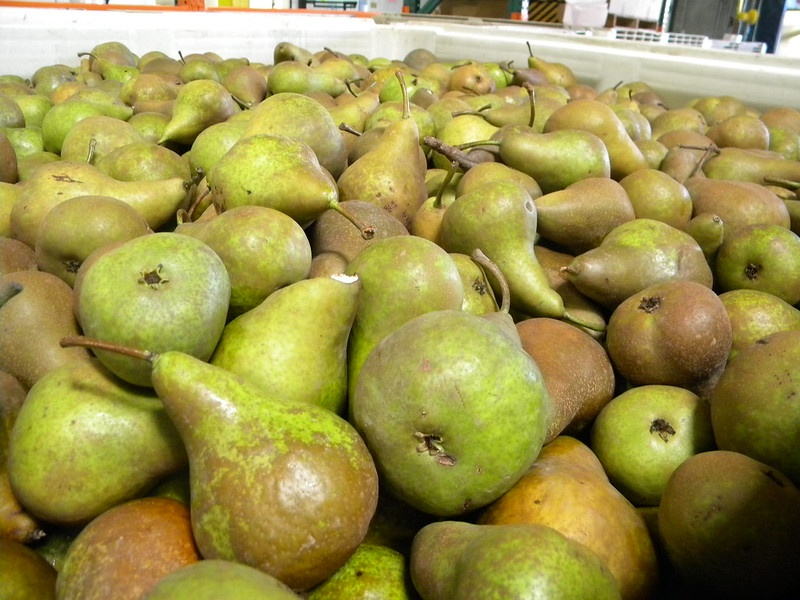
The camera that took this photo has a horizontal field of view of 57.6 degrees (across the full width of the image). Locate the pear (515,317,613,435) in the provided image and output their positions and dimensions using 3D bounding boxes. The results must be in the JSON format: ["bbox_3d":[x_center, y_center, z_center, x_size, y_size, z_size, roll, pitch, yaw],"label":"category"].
[{"bbox_3d":[0.551,0.225,2.326,0.178,0.327,0.338,25,35,-20],"label":"pear"}]

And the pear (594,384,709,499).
[{"bbox_3d":[0.772,0.410,2.321,0.312,0.330,0.313,-15,31,-16],"label":"pear"}]
